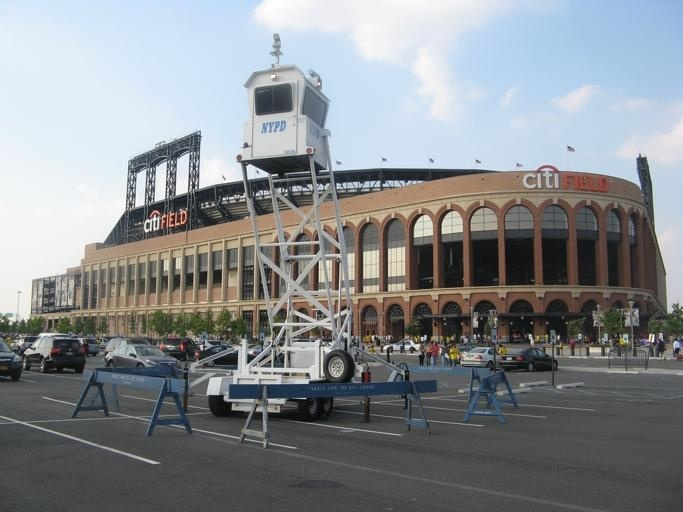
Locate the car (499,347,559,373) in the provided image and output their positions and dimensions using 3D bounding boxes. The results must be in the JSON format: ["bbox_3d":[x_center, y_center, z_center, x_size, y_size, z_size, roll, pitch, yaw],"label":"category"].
[{"bbox_3d":[11.725,6.562,40.183,3.444,1.521,0.868,4,-14,-17],"label":"car"}]

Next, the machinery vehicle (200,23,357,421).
[{"bbox_3d":[-1.654,-0.520,21.106,4.430,12.140,4.932,-5,-2,-3],"label":"machinery vehicle"}]
